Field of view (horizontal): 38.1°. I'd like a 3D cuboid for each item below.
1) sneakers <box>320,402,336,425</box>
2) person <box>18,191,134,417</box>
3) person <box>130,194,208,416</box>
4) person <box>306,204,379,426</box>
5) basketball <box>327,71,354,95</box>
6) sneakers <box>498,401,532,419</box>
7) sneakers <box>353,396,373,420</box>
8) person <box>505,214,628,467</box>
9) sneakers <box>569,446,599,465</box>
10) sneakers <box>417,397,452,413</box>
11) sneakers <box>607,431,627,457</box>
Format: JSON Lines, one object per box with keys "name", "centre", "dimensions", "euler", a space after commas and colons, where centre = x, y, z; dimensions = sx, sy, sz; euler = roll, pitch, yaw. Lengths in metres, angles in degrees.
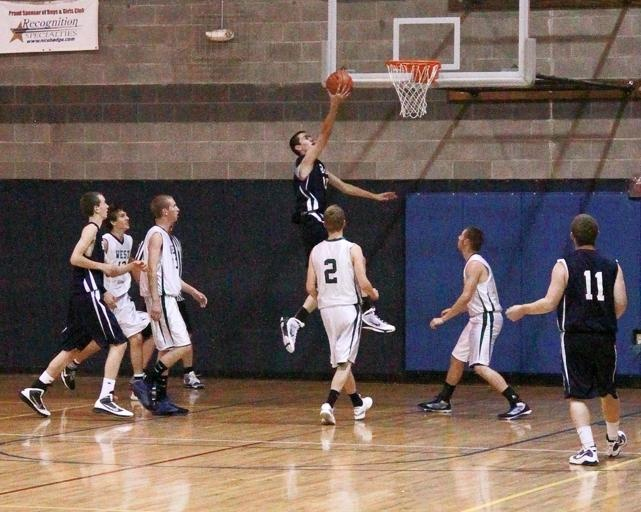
{"name": "sneakers", "centre": [0.060, 1.457, 8.450], "dimensions": [0.094, 0.115, 0.257], "euler": [1, -24, 10]}
{"name": "person", "centre": [-2.263, 0.453, 9.130], "dimensions": [1.057, 2.217, 0.763], "euler": [1, 0, 5]}
{"name": "person", "centre": [-1.535, 0.473, 9.061], "dimensions": [0.527, 2.106, 1.062], "euler": [1, 0, -11]}
{"name": "person", "centre": [0.177, 0.552, 8.504], "dimensions": [0.613, 1.853, 0.754], "euler": [1, 0, -1]}
{"name": "basketball", "centre": [0.180, -1.788, 9.571], "dimensions": [0.222, 0.275, 0.243], "euler": [6, 6, -20]}
{"name": "sneakers", "centre": [1.837, 1.475, 8.865], "dimensions": [0.358, 0.189, 0.138], "euler": [-7, 3, -8]}
{"name": "sneakers", "centre": [0.407, 1.458, 8.893], "dimensions": [0.098, 0.129, 0.285], "euler": [-2, 20, 22]}
{"name": "person", "centre": [1.953, 0.767, 7.061], "dimensions": [0.794, 1.493, 0.307], "euler": [1, 0, 0]}
{"name": "sneakers", "centre": [1.957, 1.514, 7.029], "dimensions": [0.103, 0.147, 0.274], "euler": [1, -1, -24]}
{"name": "sneakers", "centre": [1.148, 1.515, 9.339], "dimensions": [0.347, 0.196, 0.139], "euler": [7, -11, 0]}
{"name": "sneakers", "centre": [2.304, 1.414, 7.247], "dimensions": [0.093, 0.141, 0.305], "euler": [-1, 44, 25]}
